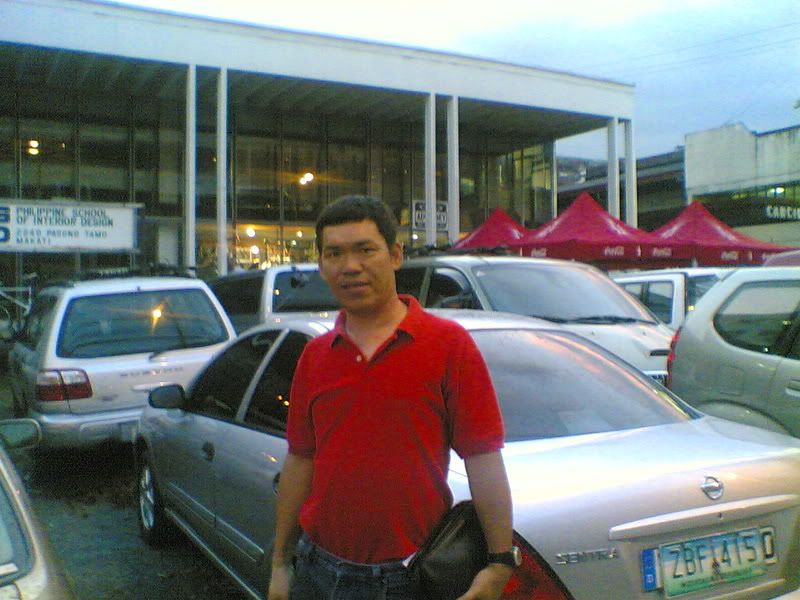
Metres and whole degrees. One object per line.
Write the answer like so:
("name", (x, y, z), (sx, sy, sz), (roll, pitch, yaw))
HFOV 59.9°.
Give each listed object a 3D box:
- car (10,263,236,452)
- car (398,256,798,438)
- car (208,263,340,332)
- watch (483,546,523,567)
("car", (-2.675, 0.528, 6.701), (1.384, 1.258, 2.571), (-3, 8, -27))
("car", (1.451, 0.301, 7.124), (1.322, 1.200, 2.601), (0, 0, -33))
("car", (-1.676, -0.053, 9.259), (0.976, 1.007, 1.643), (-5, 12, -29))
("watch", (0.339, 0.830, 2.276), (0.110, 0.071, 0.114), (2, -8, -28))
